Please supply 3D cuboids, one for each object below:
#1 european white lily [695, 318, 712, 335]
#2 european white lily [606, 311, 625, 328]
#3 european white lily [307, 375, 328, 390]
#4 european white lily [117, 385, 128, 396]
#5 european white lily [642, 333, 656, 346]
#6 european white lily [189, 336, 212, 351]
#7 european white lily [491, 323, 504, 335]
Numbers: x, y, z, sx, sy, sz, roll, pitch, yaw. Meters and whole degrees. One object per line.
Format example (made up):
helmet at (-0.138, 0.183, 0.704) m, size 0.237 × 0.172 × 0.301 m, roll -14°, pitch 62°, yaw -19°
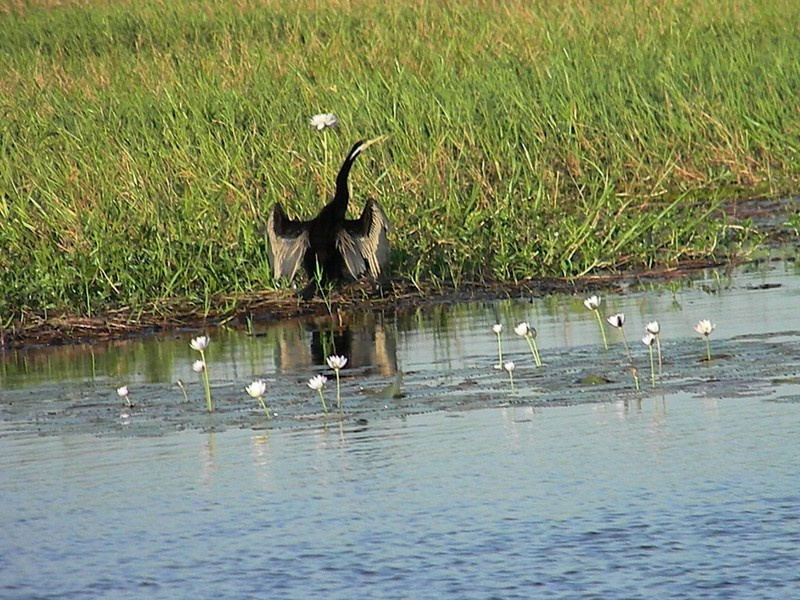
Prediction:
european white lily at (2.224, 0.191, 9.043) m, size 0.083 × 0.089 × 0.090 m, roll 3°, pitch 22°, yaw 21°
european white lily at (1.521, 0.137, 8.744) m, size 0.154 × 0.147 × 0.163 m, roll -1°, pitch 2°, yaw 18°
european white lily at (-0.584, 0.570, 8.595) m, size 0.094 × 0.119 × 0.103 m, roll -10°, pitch 10°, yaw -1°
european white lily at (-1.965, 0.635, 8.675) m, size 0.093 × 0.068 × 0.131 m, roll -3°, pitch 4°, yaw -1°
european white lily at (1.773, 0.276, 8.786) m, size 0.092 × 0.054 × 0.095 m, roll -9°, pitch -18°, yaw 32°
european white lily at (-1.637, 0.351, 10.078) m, size 0.144 × 0.095 × 0.154 m, roll -11°, pitch 0°, yaw -13°
european white lily at (0.789, 0.228, 10.054) m, size 0.091 × 0.175 × 0.105 m, roll 2°, pitch 3°, yaw 6°
